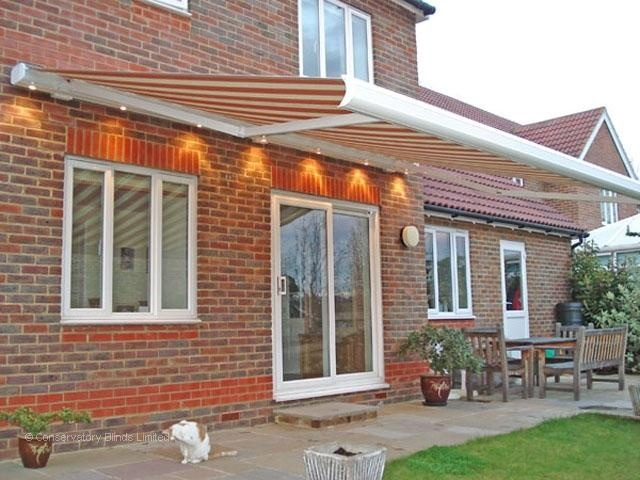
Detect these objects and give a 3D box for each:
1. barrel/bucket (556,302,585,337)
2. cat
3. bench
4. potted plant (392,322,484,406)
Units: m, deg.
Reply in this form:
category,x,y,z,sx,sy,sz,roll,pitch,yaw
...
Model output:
category,x,y,z,sx,sy,sz,roll,pitch,yaw
barrel/bucket,8.746,2.733,20.945,1.037,0.985,0.967,-1,-7,0
cat,-1.863,3.184,9.288,0.402,0.520,1.191,-21,-27,40
bench,6.825,3.134,15.442,2.944,1.638,1.201,7,-10,-44
potted plant,2.701,3.001,14.089,1.972,1.726,1.997,1,-14,7
